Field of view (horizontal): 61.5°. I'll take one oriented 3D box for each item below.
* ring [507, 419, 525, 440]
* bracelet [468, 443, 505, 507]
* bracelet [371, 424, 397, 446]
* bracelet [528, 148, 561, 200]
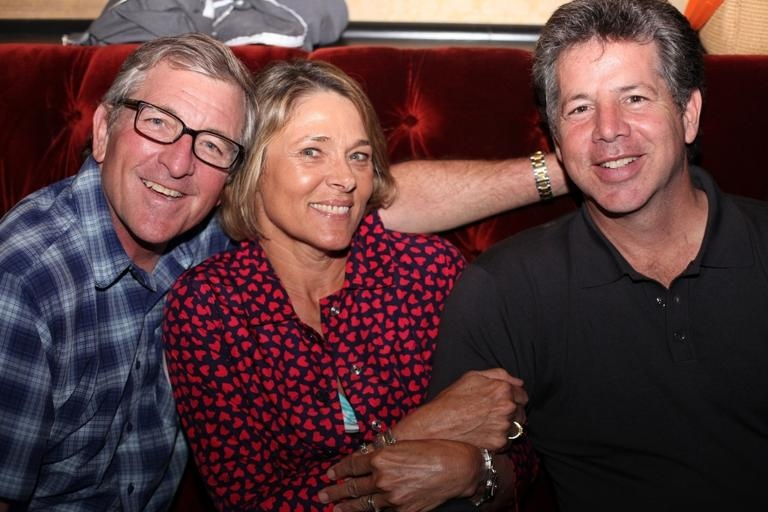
[{"bbox_3d":[0.389,0.512,1.894,0.053,0.062,0.031,7,16,4],"label":"ring"},{"bbox_3d":[0.293,0.643,1.843,0.043,0.161,0.134,8,27,45],"label":"bracelet"},{"bbox_3d":[-0.002,0.524,1.890,0.080,0.061,0.056,3,-9,-7],"label":"bracelet"},{"bbox_3d":[0.564,-0.330,2.303,0.072,0.221,0.237,-9,17,17],"label":"bracelet"}]
